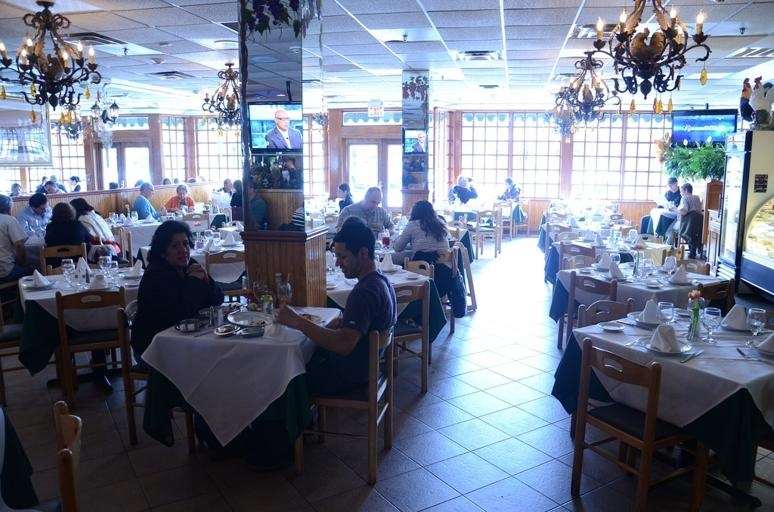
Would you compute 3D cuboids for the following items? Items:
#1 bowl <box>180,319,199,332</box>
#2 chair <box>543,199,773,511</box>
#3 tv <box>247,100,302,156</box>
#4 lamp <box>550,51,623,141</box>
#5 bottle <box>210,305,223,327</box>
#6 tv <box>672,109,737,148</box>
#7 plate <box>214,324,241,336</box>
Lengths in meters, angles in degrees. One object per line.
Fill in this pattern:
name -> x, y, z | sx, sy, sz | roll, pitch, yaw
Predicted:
bowl -> -1.695, 0.587, 4.935 | 0.174, 0.080, 0.172 | -1, 12, 0
chair -> 2.275, 1.148, 4.778 | 1.351, 0.713, 1.373 | 20, 17, 31
tv -> -1.059, -1.261, 5.534 | 0.517, 0.454, 0.055 | 0, 5, 1
lamp -> 2.764, -2.413, 8.117 | 0.831, 1.060, 1.000 | 3, 1, 33
bottle -> -1.501, 0.524, 5.061 | 0.145, 0.261, 0.153 | 1, -2, 0
tv -> 7.507, -3.086, 13.736 | 1.349, 0.865, 0.503 | 6, 14, 28
plate -> -1.349, 0.621, 4.862 | 0.116, 0.028, 0.116 | -1, 23, -9
